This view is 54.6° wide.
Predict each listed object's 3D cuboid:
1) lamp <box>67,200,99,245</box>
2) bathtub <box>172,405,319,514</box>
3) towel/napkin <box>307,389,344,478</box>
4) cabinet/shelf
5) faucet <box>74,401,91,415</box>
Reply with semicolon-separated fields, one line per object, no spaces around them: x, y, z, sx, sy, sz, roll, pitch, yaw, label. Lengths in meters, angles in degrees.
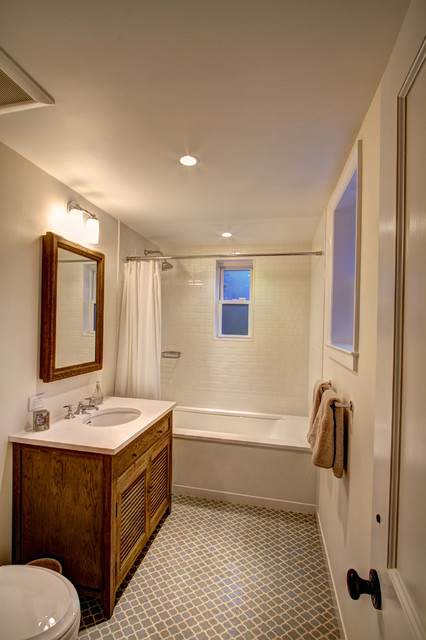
-0.775;-0.574;2.441;0.163;0.225;0.070;5;-12;-12;lamp
0.280;1.016;3.307;1.002;0.486;1.062;1;2;12;bathtub
0.526;0.473;1.881;0.095;0.325;0.479;0;2;11;towel/napkin
-0.553;0.894;2.267;0.420;0.840;0.881;1;4;13;cabinet/shelf
-0.752;0.507;2.405;0.049;0.047;0.078;1;3;-2;faucet
